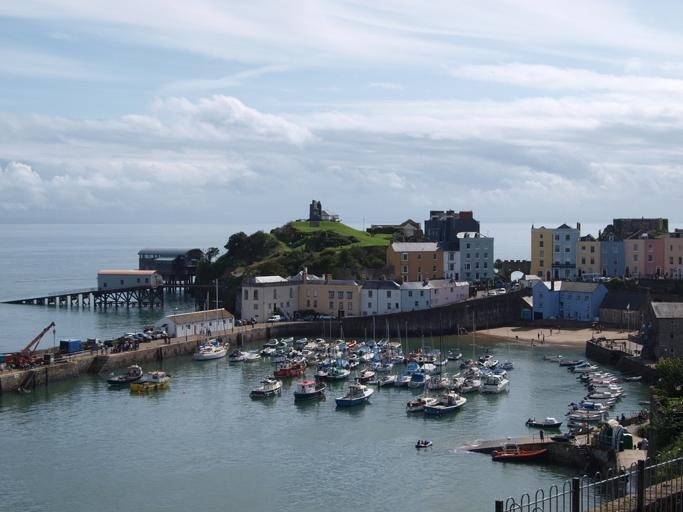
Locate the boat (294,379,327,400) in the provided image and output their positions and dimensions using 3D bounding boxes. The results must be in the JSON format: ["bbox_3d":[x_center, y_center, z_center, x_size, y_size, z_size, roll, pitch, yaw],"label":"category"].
[{"bbox_3d":[-2.807,12.338,87.800,1.772,1.605,3.989,3,9,27],"label":"boat"}]

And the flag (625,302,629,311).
[{"bbox_3d":[34.546,6.066,113.473,0.457,0.703,0.803,1,8,15],"label":"flag"}]

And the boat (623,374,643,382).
[{"bbox_3d":[28.179,11.709,90.969,1.747,0.261,1.457,0,8,10],"label":"boat"}]

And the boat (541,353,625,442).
[{"bbox_3d":[21.902,12.096,81.976,4.201,2.156,21.087,2,8,22],"label":"boat"}]

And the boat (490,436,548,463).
[{"bbox_3d":[13.556,14.582,71.644,3.605,1.369,1.726,-2,1,5],"label":"boat"}]

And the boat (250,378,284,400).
[{"bbox_3d":[-6.961,12.310,88.394,2.114,1.306,3.763,4,9,33],"label":"boat"}]

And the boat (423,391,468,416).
[{"bbox_3d":[9.309,12.900,82.638,1.628,1.240,3.524,10,13,40],"label":"boat"}]

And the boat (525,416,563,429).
[{"bbox_3d":[16.580,13.684,77.338,2.532,0.805,1.058,0,2,16],"label":"boat"}]
